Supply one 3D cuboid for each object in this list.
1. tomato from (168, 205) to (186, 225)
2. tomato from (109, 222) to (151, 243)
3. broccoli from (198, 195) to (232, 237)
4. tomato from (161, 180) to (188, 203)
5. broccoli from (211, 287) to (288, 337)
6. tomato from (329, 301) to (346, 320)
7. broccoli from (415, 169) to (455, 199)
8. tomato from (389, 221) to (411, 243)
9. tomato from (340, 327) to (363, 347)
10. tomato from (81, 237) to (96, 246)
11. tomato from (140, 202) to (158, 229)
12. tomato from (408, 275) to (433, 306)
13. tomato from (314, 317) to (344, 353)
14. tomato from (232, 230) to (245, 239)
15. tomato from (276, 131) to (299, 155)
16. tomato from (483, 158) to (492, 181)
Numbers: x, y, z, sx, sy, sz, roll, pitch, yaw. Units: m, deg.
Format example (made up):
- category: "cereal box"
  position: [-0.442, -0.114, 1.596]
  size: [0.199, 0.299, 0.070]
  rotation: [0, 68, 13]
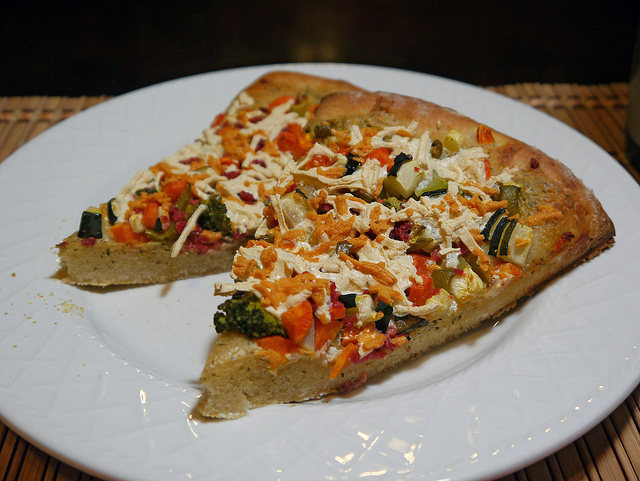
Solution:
- category: "tomato"
  position: [-1.160, -0.204, 5.318]
  size: [0.124, 0.094, 0.094]
  rotation: [3, 53, 3]
- category: "tomato"
  position: [-1.548, -0.064, 5.336]
  size: [0.336, 0.093, 0.150]
  rotation: [-1, 54, 0]
- category: "broccoli"
  position: [-0.845, -0.188, 5.356]
  size: [0.217, 0.126, 0.330]
  rotation: [-11, 88, -14]
- category: "tomato"
  position: [-1.198, -0.418, 5.401]
  size: [0.174, 0.074, 0.178]
  rotation: [-9, 35, 44]
- category: "broccoli"
  position: [-0.499, 0.502, 4.527]
  size: [0.420, 0.178, 0.336]
  rotation: [6, 45, -4]
- category: "tomato"
  position: [0.121, 0.494, 4.508]
  size: [0.100, 0.079, 0.107]
  rotation: [-9, 23, 6]
- category: "broccoli"
  position: [0.883, -0.408, 5.060]
  size: [0.225, 0.066, 0.223]
  rotation: [-29, 51, -31]
- category: "tomato"
  position: [0.614, -0.076, 4.881]
  size: [0.144, 0.058, 0.148]
  rotation: [23, 58, 16]
- category: "tomato"
  position: [0.224, 0.684, 4.603]
  size: [0.145, 0.055, 0.126]
  rotation: [5, 55, 4]
- category: "tomato"
  position: [-1.859, 0.012, 5.266]
  size: [0.067, 0.022, 0.072]
  rotation: [7, 46, -17]
- category: "tomato"
  position: [-1.362, -0.209, 5.300]
  size: [0.119, 0.070, 0.194]
  rotation: [25, 67, 7]
- category: "tomato"
  position: [0.728, 0.352, 4.710]
  size: [0.133, 0.103, 0.219]
  rotation: [21, 57, 15]
- category: "tomato"
  position: [0.049, 0.635, 4.520]
  size: [0.192, 0.222, 0.066]
  rotation: [13, 6, -24]
- category: "tomato"
  position: [-0.690, -0.036, 5.452]
  size: [0.067, 0.052, 0.073]
  rotation: [-18, 64, -17]
- category: "tomato"
  position: [-0.310, -0.904, 5.972]
  size: [0.181, 0.066, 0.203]
  rotation: [2, 68, 19]
- category: "tomato"
  position: [1.338, -0.575, 5.258]
  size: [0.029, 0.080, 0.152]
  rotation: [3, 74, -26]
